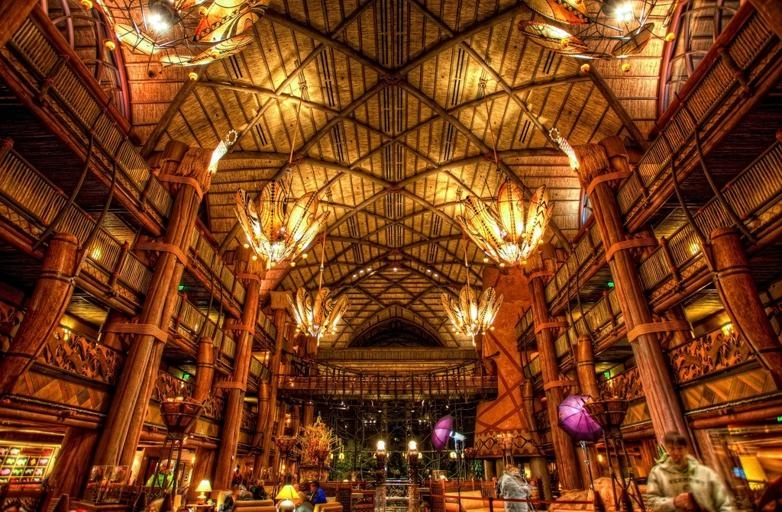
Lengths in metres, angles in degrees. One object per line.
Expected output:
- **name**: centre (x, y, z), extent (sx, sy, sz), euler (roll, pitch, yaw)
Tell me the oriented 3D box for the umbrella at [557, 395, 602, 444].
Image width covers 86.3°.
- **umbrella**: centre (6.697, 5.689, 15.086), extent (1.257, 1.514, 0.996), euler (-14, -40, 17)
